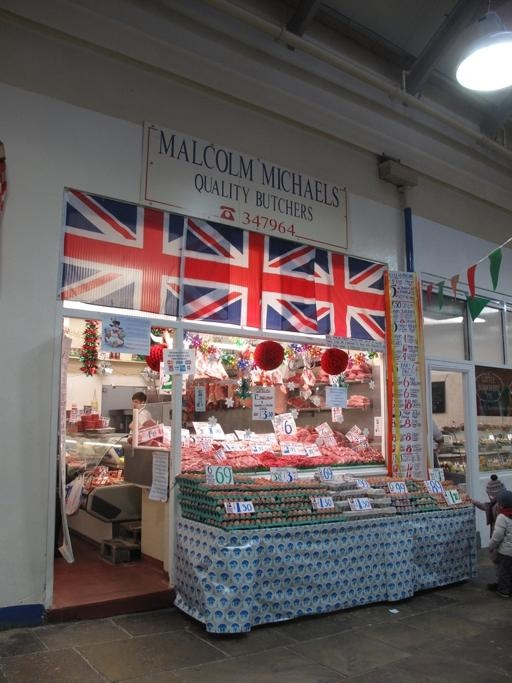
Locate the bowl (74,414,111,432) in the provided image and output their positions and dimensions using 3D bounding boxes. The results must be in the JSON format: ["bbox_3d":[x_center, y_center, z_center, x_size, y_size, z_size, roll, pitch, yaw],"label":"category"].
[{"bbox_3d":[-1.907,0.959,6.556,0.292,0.174,0.285,1,-1,0],"label":"bowl"}]

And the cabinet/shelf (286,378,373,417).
[{"bbox_3d":[0.784,0.695,6.894,0.440,0.390,1.405,6,-8,-30],"label":"cabinet/shelf"}]

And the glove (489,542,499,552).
[{"bbox_3d":[1.960,1.705,4.645,0.066,0.031,0.085,8,-40,5],"label":"glove"}]

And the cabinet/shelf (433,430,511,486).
[{"bbox_3d":[2.577,1.418,6.806,0.806,0.696,0.419,5,-14,-30],"label":"cabinet/shelf"}]
